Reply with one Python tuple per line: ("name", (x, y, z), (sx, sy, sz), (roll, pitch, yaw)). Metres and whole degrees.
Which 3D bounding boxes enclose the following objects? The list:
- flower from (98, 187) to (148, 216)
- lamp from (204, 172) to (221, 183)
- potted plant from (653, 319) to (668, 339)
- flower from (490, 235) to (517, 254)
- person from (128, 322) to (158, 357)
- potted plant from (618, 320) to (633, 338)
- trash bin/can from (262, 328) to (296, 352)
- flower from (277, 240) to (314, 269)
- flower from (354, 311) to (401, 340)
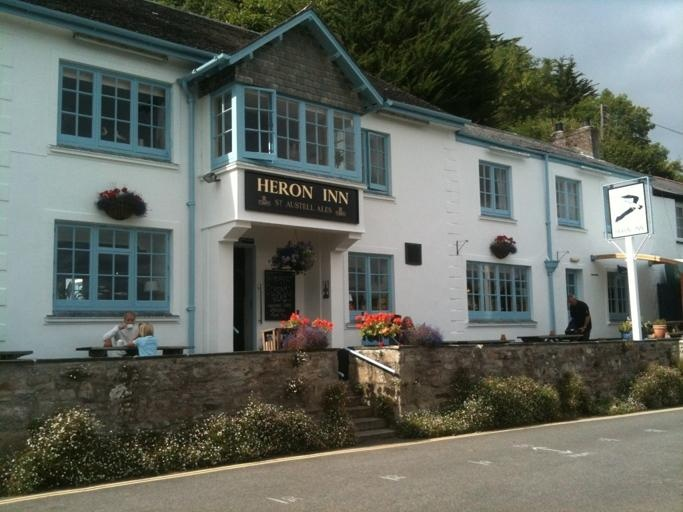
("flower", (-4.891, -1.166, 13.718), (1.014, 0.676, 0.295), (2, -8, -25))
("lamp", (-3.031, -1.824, 14.468), (0.254, 0.167, 0.320), (-2, -7, 32))
("potted plant", (11.560, 2.666, 22.409), (0.472, 0.571, 0.491), (2, -2, 34))
("flower", (5.218, -0.350, 19.941), (0.603, 0.476, 0.638), (3, -9, 0))
("person", (-3.803, 1.610, 12.007), (0.496, 0.627, 1.092), (4, -10, -36))
("potted plant", (10.463, 2.705, 22.768), (0.579, 0.693, 0.548), (6, -7, -41))
("trash bin/can", (-1.361, 1.840, 13.372), (0.531, 0.572, 0.551), (-9, -11, 41))
("flower", (-1.196, -0.014, 15.934), (0.976, 0.773, 0.420), (-1, -8, -4))
("flower", (0.909, 1.607, 14.273), (0.926, 0.566, 0.448), (-3, -8, 9))
